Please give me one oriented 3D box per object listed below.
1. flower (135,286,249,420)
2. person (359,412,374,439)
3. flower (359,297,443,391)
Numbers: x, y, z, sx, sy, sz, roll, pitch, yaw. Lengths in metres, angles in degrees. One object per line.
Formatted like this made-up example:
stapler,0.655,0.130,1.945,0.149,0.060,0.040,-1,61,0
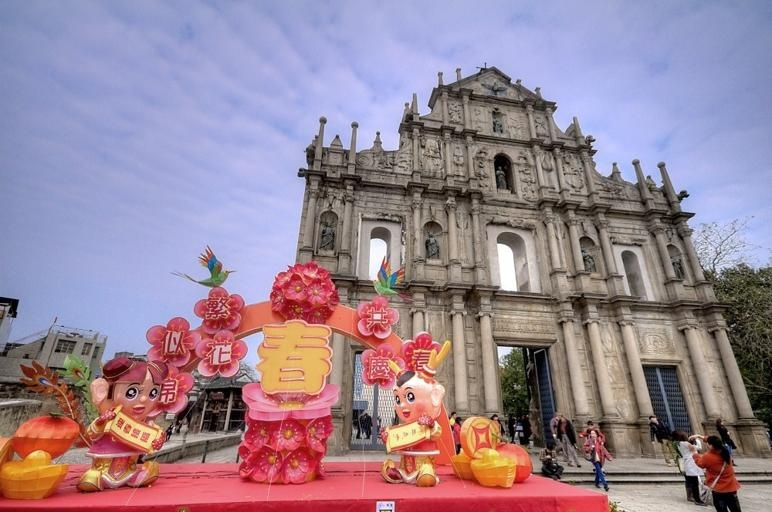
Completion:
flower,-4.014,1.968,7.899,1.731,2.636,1.099,9,-13,-28
person,-0.820,6.533,14.177,0.482,1.110,0.646,-1,-12,16
flower,0.215,1.900,8.202,1.803,2.031,0.872,-7,-15,38
